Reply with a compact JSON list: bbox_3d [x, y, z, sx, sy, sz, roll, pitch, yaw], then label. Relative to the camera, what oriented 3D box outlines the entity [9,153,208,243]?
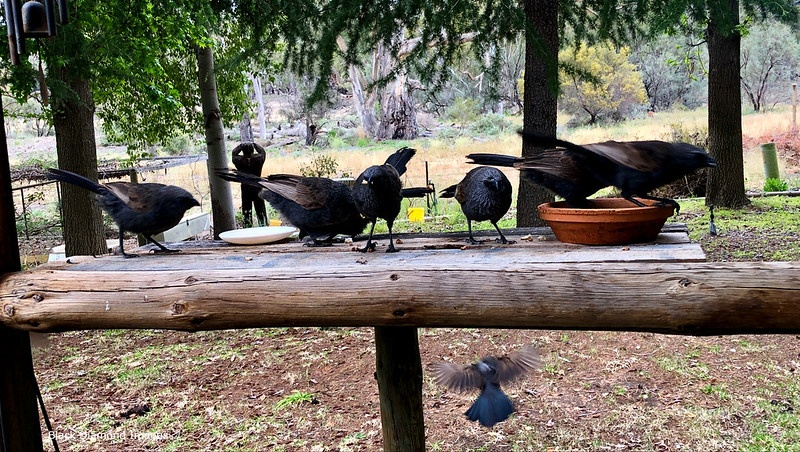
[{"bbox_3d":[-3.292,-0.337,9.157,2.589,0.945,0.724,11,5,2],"label":"entity"}]

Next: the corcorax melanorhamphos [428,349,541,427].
[{"bbox_3d":[1.089,1.900,8.871,1.418,0.614,0.745,-9,37,-14],"label":"corcorax melanorhamphos"}]

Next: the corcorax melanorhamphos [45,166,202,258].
[{"bbox_3d":[-3.228,-0.230,8.810,1.471,0.986,0.260,-4,10,2],"label":"corcorax melanorhamphos"}]

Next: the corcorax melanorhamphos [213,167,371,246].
[{"bbox_3d":[-1.235,-0.313,9.362,2.451,0.944,0.724,19,20,33],"label":"corcorax melanorhamphos"}]
